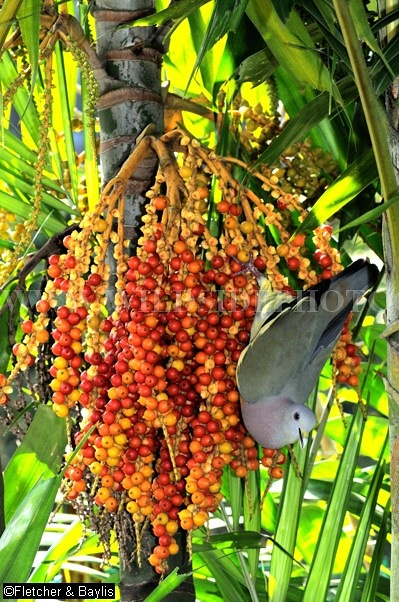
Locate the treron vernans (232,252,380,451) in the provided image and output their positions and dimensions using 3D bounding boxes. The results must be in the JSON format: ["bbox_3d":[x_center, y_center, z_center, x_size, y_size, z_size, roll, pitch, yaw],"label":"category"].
[{"bbox_3d":[0.085,0.054,0.697,0.104,0.136,0.192,6,94,5],"label":"treron vernans"}]

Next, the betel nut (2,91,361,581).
[{"bbox_3d":[-0.044,0.041,0.686,0.389,0.154,0.418,0,89,-31],"label":"betel nut"}]
